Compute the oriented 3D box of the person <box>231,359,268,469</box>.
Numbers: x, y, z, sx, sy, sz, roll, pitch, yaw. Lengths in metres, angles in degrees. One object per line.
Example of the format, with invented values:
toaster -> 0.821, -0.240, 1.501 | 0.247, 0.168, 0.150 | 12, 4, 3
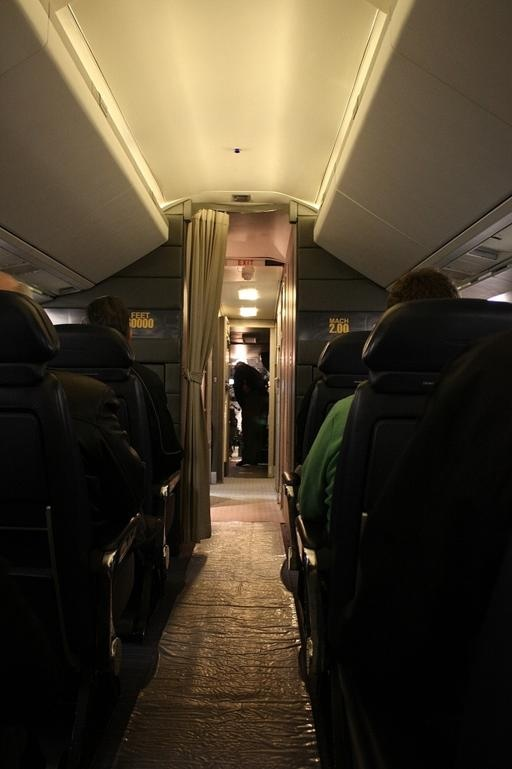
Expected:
person -> -0.107, 0.565, 10.136 | 0.633, 1.917, 0.368 | 1, -1, -5
